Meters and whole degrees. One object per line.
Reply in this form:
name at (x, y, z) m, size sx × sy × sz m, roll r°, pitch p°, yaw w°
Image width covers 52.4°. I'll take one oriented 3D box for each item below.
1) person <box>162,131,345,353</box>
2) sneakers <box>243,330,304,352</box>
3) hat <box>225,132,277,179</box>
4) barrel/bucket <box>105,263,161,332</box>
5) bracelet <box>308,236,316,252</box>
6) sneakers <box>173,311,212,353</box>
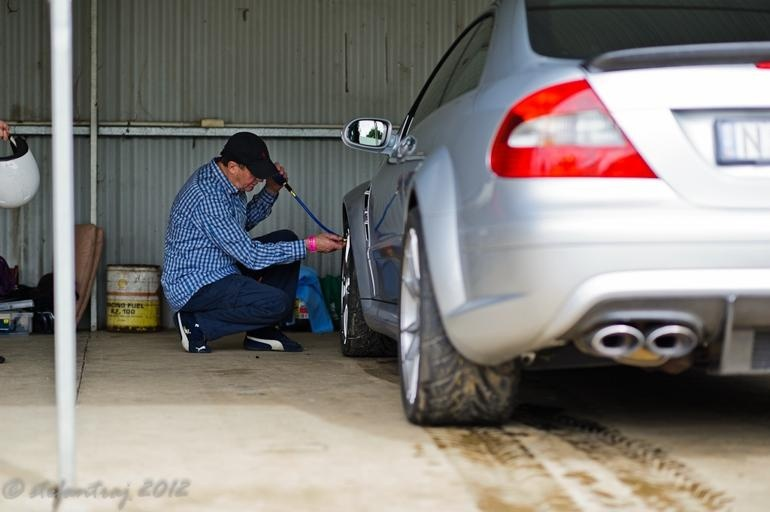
person at (-0.922, -0.090, 4.979) m, size 0.972 × 1.382 × 0.688 m, roll 0°, pitch 7°, yaw 1°
sneakers at (-0.730, 0.549, 5.049) m, size 0.424 × 0.189 × 0.147 m, roll 2°, pitch -4°, yaw -4°
hat at (-0.880, -0.636, 4.916) m, size 0.381 × 0.199 × 0.274 m, roll 22°, pitch 4°, yaw -1°
barrel/bucket at (-1.996, 0.335, 6.305) m, size 0.470 × 0.548 × 0.483 m, roll 0°, pitch 0°, yaw 0°
bracelet at (-0.440, -0.067, 4.650) m, size 0.047 × 0.096 × 0.086 m, roll -3°, pitch 10°, yaw -18°
sneakers at (-1.225, 0.522, 4.975) m, size 0.123 × 0.378 × 0.147 m, roll -25°, pitch -17°, yaw 3°
